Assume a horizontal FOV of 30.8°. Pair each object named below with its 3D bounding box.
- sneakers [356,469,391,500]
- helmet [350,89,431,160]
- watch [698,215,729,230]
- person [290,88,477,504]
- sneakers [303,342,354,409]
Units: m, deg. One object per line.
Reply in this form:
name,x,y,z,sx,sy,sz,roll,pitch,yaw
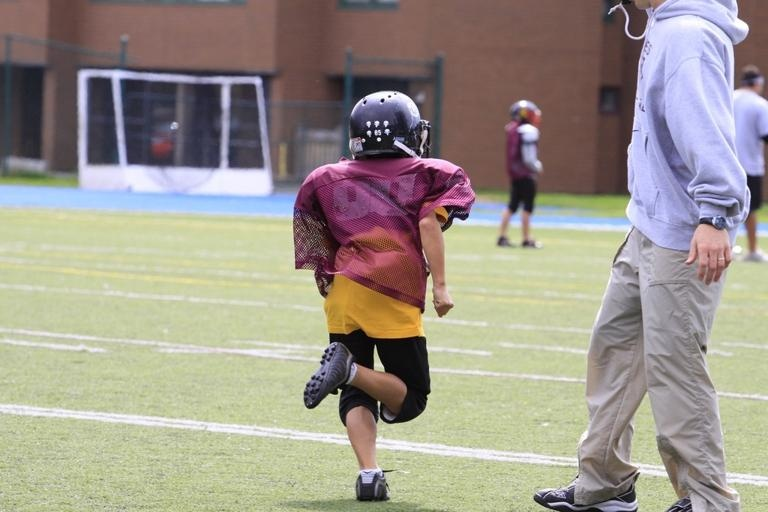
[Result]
sneakers,-0.061,1.313,8.109,0.201,0.172,0.126,2,12,2
helmet,0.006,-0.779,8.476,0.492,0.417,0.600,-2,7,-4
watch,1.782,-0.160,7.553,0.109,0.070,0.118,-1,-8,37
person,-0.055,0.203,8.289,1.023,2.283,0.834,-8,16,-39
sneakers,-0.293,0.690,8.115,0.197,0.371,0.307,11,15,38
